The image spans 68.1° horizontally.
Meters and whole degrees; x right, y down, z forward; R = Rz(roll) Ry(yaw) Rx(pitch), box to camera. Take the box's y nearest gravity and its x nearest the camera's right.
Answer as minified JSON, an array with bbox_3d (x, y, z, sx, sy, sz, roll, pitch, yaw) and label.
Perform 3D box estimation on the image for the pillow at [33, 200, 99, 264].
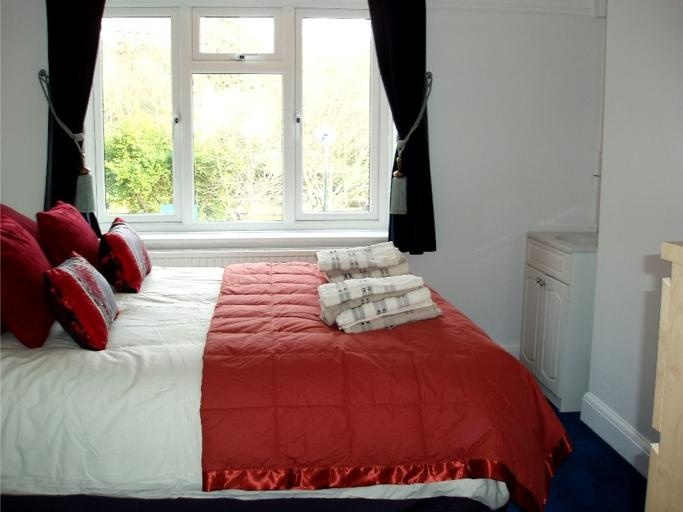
[{"bbox_3d":[-1.450,-0.126,2.661,0.178,0.317,0.354,-4,13,3],"label":"pillow"}]

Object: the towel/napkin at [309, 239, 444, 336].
[{"bbox_3d":[0.133,0.164,2.489,0.369,0.151,0.476,-6,22,-9],"label":"towel/napkin"}]

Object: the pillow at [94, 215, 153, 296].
[{"bbox_3d":[-1.246,-0.003,2.872,0.162,0.260,0.451,-5,22,-10],"label":"pillow"}]
